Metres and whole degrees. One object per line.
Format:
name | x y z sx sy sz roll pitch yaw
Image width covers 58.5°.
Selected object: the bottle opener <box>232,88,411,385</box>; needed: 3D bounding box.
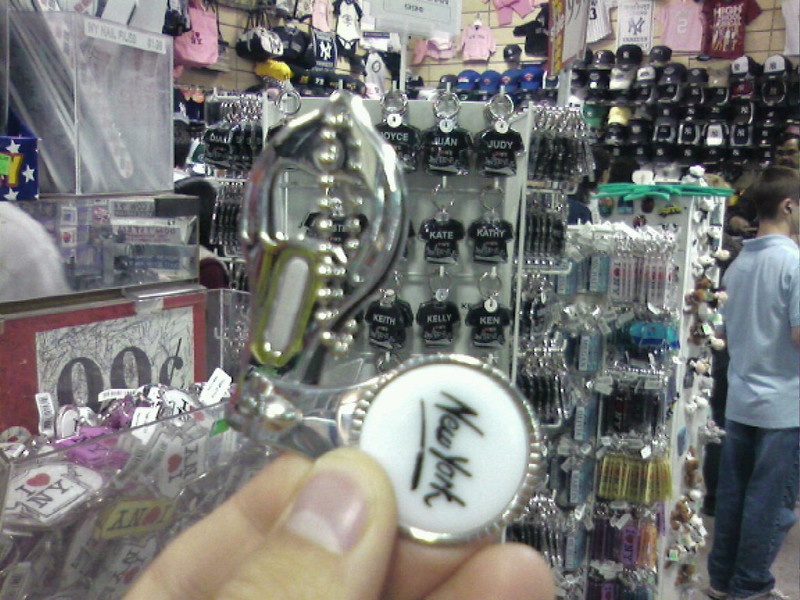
bottle opener | -0.107 -0.085 0.981 0.216 0.393 0.113 2 5 -21
